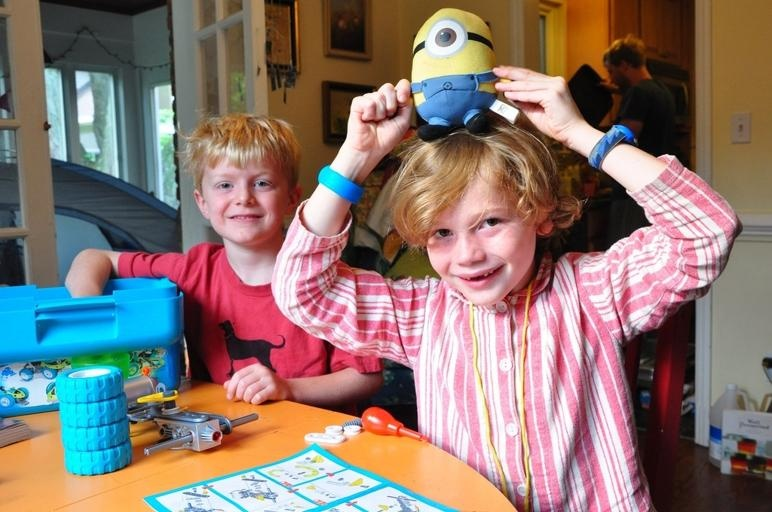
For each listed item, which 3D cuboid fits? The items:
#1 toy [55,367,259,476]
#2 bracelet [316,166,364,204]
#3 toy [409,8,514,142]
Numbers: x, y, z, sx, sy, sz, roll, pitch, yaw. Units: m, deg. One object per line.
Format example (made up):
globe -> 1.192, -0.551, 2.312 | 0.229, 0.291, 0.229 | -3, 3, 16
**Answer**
toy -> -0.553, 0.300, 1.579 | 0.296, 0.153, 0.261 | -6, 6, -32
bracelet -> -0.109, -0.158, 1.658 | 0.084, 0.037, 0.093 | 36, -8, 15
toy -> 0.175, -0.422, 1.587 | 0.238, 0.299, 0.085 | -1, 7, 11
